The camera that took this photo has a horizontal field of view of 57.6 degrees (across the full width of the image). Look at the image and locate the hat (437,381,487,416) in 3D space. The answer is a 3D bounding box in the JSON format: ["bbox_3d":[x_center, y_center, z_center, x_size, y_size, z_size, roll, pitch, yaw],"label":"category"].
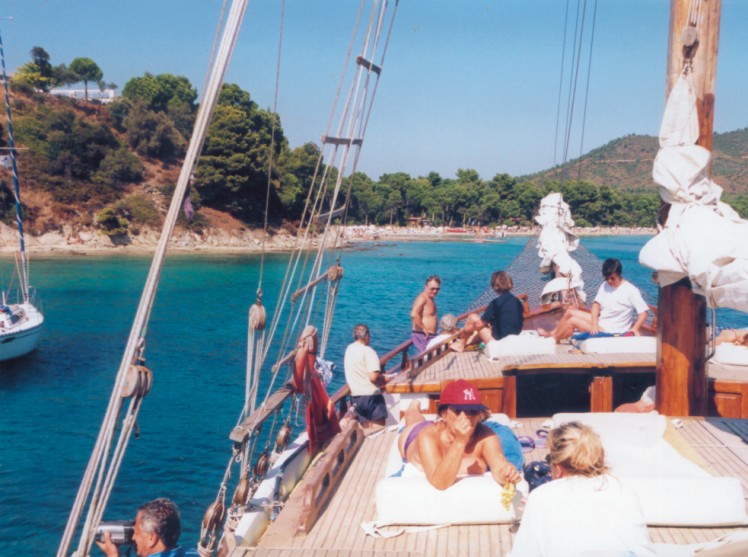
[{"bbox_3d":[0.753,1.039,5.986,0.295,0.229,0.372,9,-6,-38],"label":"hat"}]

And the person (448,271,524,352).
[{"bbox_3d":[1.911,0.553,10.754,1.278,1.413,0.933,8,4,41],"label":"person"}]

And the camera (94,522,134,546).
[{"bbox_3d":[-2.184,2.144,5.734,0.222,0.090,0.226,5,25,-8],"label":"camera"}]

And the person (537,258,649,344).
[{"bbox_3d":[3.146,0.293,9.924,1.557,1.172,0.923,-2,12,10],"label":"person"}]

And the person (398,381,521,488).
[{"bbox_3d":[0.700,1.414,6.246,0.532,0.628,1.466,-7,5,-11],"label":"person"}]
